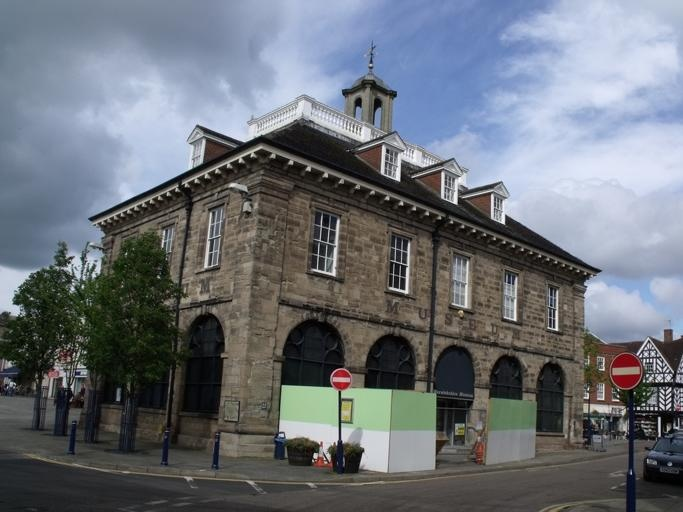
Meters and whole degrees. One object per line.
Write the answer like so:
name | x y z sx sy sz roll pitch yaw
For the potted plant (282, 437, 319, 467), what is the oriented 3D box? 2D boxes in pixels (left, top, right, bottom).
potted plant | -1.435 6.817 20.929 1.015 0.794 0.875 2 -28 0

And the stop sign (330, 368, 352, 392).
stop sign | -0.011 4.082 19.751 0.604 0.712 0.306 -4 -14 20

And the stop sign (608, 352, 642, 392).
stop sign | 6.629 2.639 13.856 0.718 0.845 0.521 -12 -18 43

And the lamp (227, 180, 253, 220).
lamp | -4.178 -2.220 24.188 0.752 1.470 1.501 8 -15 -31

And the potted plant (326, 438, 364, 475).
potted plant | 0.088 6.667 20.218 0.936 1.014 1.186 -15 -21 41

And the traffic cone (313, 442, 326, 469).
traffic cone | -0.724 7.125 21.396 0.535 0.633 0.580 0 -13 -1
